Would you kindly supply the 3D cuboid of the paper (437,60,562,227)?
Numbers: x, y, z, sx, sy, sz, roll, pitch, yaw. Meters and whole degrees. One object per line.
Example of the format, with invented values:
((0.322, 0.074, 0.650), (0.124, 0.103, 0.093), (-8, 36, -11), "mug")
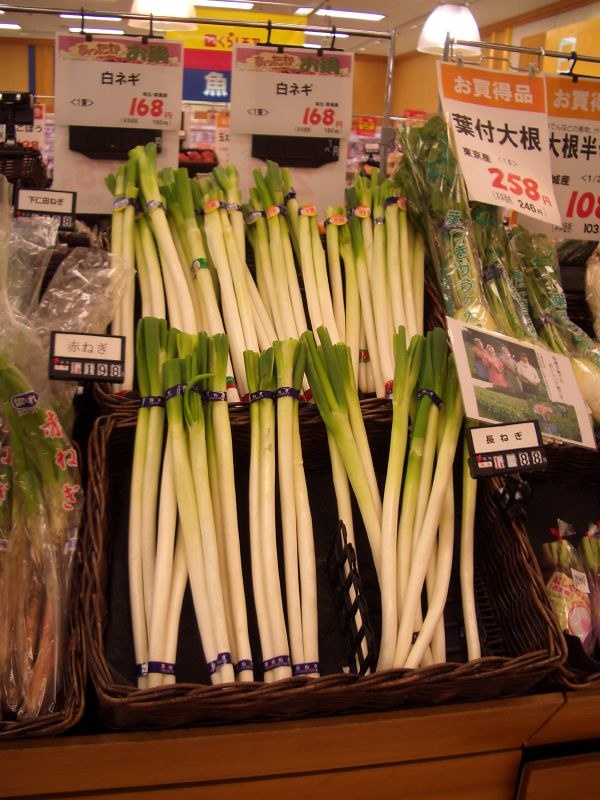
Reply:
((0.481, -0.642, 1.483), (0.036, 0.424, 0.296), (-45, 50, -14), "paper")

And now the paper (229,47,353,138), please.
((-0.027, -1.250, 2.454), (0.503, 0.349, 0.092), (-2, 12, -13), "paper")

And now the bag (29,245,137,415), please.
((-0.476, -0.188, 1.321), (0.179, 0.108, 0.377), (17, 50, -23), "bag")

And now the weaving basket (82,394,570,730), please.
((0.071, 0.168, 1.034), (0.584, 0.179, 0.664), (6, 47, -22), "weaving basket")

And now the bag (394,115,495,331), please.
((0.346, -0.425, 1.541), (0.164, 0.625, 0.156), (-14, -1, -37), "bag")

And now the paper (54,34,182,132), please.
((-0.668, -1.167, 2.226), (0.346, 0.296, 0.022), (-1, 21, -9), "paper")
